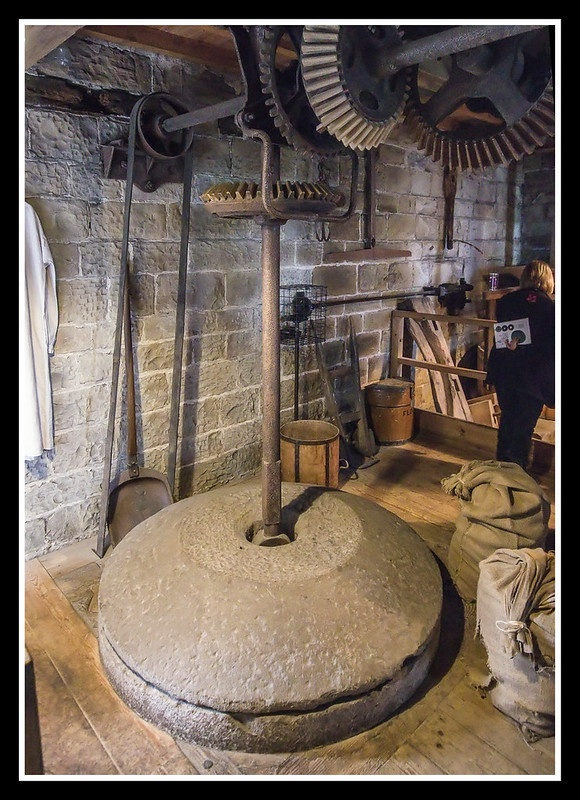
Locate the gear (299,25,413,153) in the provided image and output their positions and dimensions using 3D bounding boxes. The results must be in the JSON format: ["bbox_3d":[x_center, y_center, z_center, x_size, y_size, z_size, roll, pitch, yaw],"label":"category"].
[{"bbox_3d":[0.206,-0.856,1.480,0.429,0.296,0.155,-14,18,-41],"label":"gear"}]

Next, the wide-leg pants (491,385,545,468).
[{"bbox_3d":[1.416,0.172,3.312,0.160,0.714,0.219,-22,34,-21],"label":"wide-leg pants"}]

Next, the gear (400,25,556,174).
[{"bbox_3d":[0.624,-0.928,1.726,0.409,0.282,0.464,-12,18,-38],"label":"gear"}]

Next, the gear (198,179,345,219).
[{"bbox_3d":[-0.067,-0.628,1.688,0.402,0.134,0.278,5,15,23],"label":"gear"}]

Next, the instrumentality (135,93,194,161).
[{"bbox_3d":[-0.586,-1.277,2.551,0.170,0.265,0.352,4,15,20],"label":"instrumentality"}]

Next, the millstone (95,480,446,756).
[{"bbox_3d":[-0.043,0.664,1.838,1.221,0.500,0.857,-4,14,-12],"label":"millstone"}]
